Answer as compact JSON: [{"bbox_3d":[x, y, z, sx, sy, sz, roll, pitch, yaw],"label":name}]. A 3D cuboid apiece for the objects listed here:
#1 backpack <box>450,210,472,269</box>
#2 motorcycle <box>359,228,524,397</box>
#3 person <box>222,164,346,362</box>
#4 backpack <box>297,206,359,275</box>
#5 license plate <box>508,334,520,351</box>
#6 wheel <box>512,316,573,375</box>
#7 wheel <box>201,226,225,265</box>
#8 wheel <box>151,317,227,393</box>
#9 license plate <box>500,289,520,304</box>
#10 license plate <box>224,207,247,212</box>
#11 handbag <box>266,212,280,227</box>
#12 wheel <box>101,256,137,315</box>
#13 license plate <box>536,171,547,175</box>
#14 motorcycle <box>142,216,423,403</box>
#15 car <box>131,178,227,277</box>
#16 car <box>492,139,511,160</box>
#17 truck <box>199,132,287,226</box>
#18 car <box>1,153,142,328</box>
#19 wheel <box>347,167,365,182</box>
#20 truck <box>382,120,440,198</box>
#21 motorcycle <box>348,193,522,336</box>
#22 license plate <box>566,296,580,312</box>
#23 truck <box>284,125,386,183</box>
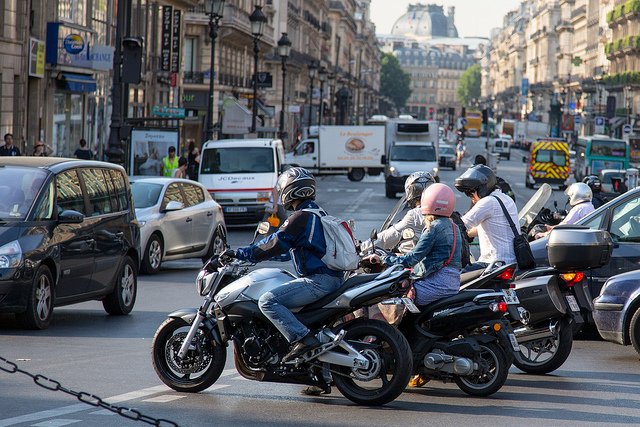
[{"bbox_3d":[1.691,0.323,10.047,0.366,0.605,0.534,2,1,8],"label":"backpack"},{"bbox_3d":[1.226,1.098,9.923,0.732,1.973,2.484,7,-6,-43],"label":"motorcycle"},{"bbox_3d":[-0.267,0.552,9.062,1.097,2.043,0.512,1,5,0],"label":"person"},{"bbox_3d":[0.077,0.274,9.109,0.548,0.724,0.480,-1,13,6],"label":"backpack"},{"bbox_3d":[2.117,1.415,9.267,0.039,0.172,0.124,-13,-3,-1],"label":"license plate"},{"bbox_3d":[2.652,1.566,10.420,0.709,0.889,0.255,5,26,16],"label":"wheel"},{"bbox_3d":[-2.120,0.610,16.728,0.210,0.766,0.682,-7,5,33],"label":"wheel"},{"bbox_3d":[-1.412,1.551,9.293,0.711,0.936,0.213,0,-2,13],"label":"wheel"},{"bbox_3d":[2.062,0.914,9.283,0.211,0.256,0.033,6,-37,-20],"label":"license plate"},{"bbox_3d":[-2.547,-0.113,25.943,0.684,0.149,0.139,1,5,-8],"label":"license plate"},{"bbox_3d":[-1.191,0.139,21.866,0.286,0.504,0.147,3,-12,2],"label":"handbag"},{"bbox_3d":[-3.171,1.164,13.610,0.252,0.957,0.869,0,3,9],"label":"wheel"},{"bbox_3d":[13.073,-2.407,50.223,0.861,0.184,0.098,-2,5,-32],"label":"license plate"},{"bbox_3d":[-0.436,0.982,9.156,2.783,2.157,1.176,1,17,7],"label":"motorcycle"},{"bbox_3d":[-3.319,0.255,18.625,1.640,1.613,2.952,-1,-2,26],"label":"car"},{"bbox_3d":[19.258,-6.389,89.837,2.189,2.508,3.976,1,6,10],"label":"car"},{"bbox_3d":[-2.463,-1.188,24.791,1.986,2.368,3.941,-1,-2,3],"label":"truck"},{"bbox_3d":[-3.814,0.308,12.751,1.426,1.536,2.599,-1,-4,15],"label":"car"},{"bbox_3d":[2.315,-2.526,54.229,0.706,0.876,0.279,0,9,3],"label":"wheel"},{"bbox_3d":[4.572,-2.489,42.973,2.694,4.431,7.359,1,-2,5],"label":"truck"},{"bbox_3d":[1.010,0.868,9.704,2.420,1.890,1.316,-1,8,15],"label":"motorcycle"},{"bbox_3d":[3.061,1.114,10.353,0.137,0.170,0.039,0,-6,-4],"label":"license plate"},{"bbox_3d":[1.345,-4.393,55.369,7.205,4.543,3.537,1,2,1],"label":"truck"}]
